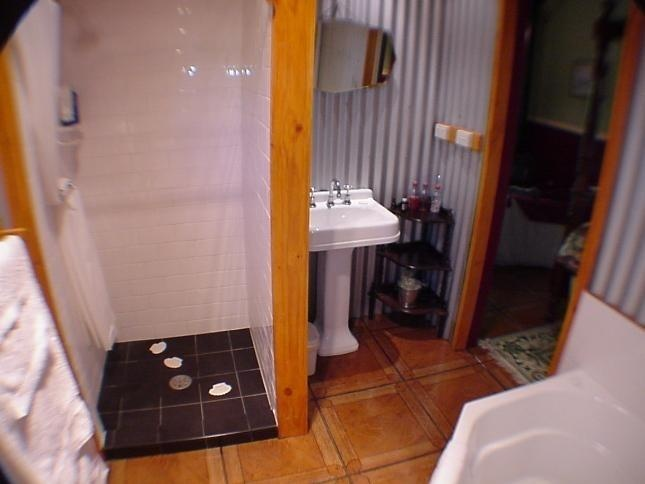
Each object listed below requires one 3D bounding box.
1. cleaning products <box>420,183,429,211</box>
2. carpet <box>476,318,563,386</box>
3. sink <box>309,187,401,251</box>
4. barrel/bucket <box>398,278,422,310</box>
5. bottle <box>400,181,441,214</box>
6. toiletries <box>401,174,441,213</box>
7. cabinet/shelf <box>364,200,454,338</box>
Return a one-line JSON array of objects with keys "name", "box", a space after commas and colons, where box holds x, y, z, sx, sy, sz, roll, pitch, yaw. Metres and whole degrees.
[{"name": "cleaning products", "box": [0.741, -0.321, 3.403, 0.073, 0.157, 0.112, 4, 24, 12]}, {"name": "carpet", "box": [1.420, 0.730, 3.267, 0.398, 0.022, 0.404, -8, 30, -10]}, {"name": "sink", "box": [0.196, -0.142, 3.111, 0.531, 0.223, 0.419, -6, 39, -6]}, {"name": "barrel/bucket", "box": [0.617, 0.366, 3.449, 0.183, 0.188, 0.185, 2, 23, -1]}, {"name": "bottle", "box": [0.685, -0.322, 3.442, 0.294, 0.305, 0.177, 2, 25, 5]}, {"name": "toiletries", "box": [0.679, -0.373, 3.468, 0.321, 0.331, 0.189, 4, 26, 7]}, {"name": "cabinet/shelf", "box": [0.651, 0.188, 3.454, 0.593, 0.896, 0.500, 12, 19, 22]}]
